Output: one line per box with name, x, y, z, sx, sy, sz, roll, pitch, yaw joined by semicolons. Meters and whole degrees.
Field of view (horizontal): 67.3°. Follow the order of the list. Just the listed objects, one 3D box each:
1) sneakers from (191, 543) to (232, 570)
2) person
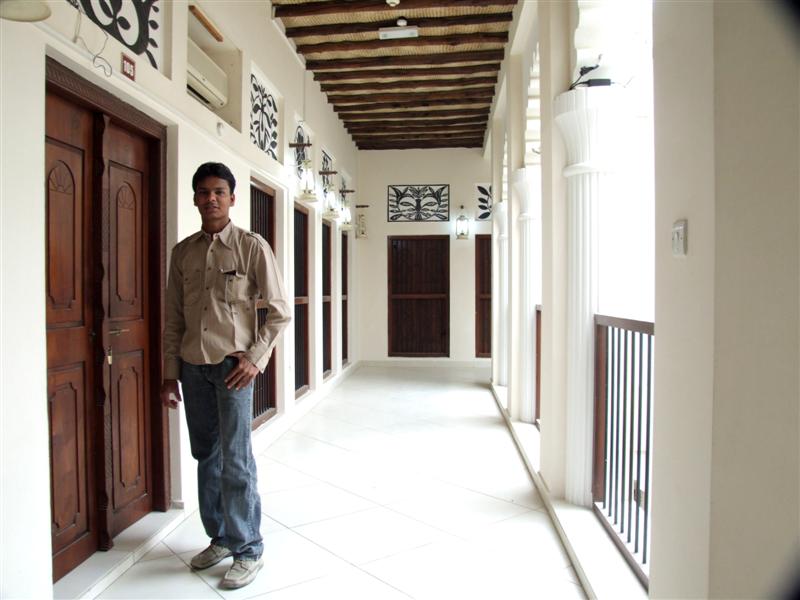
sneakers;-0.973;1.330;3.158;0.096;0.101;0.237;9;2;34
person;-0.904;0.355;3.064;0.678;2.094;0.399;-1;2;-6
